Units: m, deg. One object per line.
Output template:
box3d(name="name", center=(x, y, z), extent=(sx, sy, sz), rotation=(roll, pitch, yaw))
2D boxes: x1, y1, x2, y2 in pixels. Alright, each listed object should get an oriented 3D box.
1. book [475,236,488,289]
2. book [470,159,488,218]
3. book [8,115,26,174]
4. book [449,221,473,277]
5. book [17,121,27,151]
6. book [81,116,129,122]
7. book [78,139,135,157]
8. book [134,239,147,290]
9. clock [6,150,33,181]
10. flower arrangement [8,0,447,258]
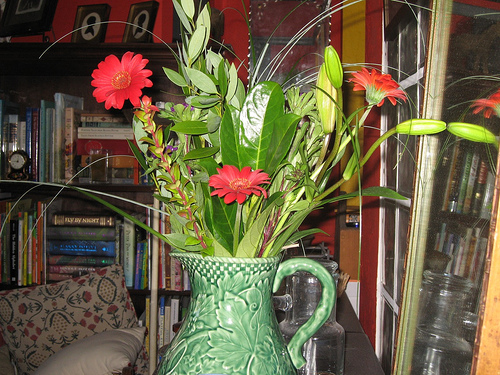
box3d(name="book", center=(0.551, 0.180, 1.195), extent=(0.017, 0.123, 0.032), rotation=(2, -3, -4))
box3d(name="book", center=(0.560, 0.009, 1.222), extent=(0.017, 0.101, 0.089), rotation=(5, 26, 14))
box3d(name="book", center=(-1.155, -0.206, 2.466), extent=(0.064, 0.252, 0.230), rotation=(1, 4, -4))
box3d(name="book", center=(0.540, 0.152, 1.268), extent=(0.021, 0.102, 0.077), rotation=(8, 3, 43))
box3d(name="book", center=(-1.136, -0.253, 2.481), extent=(0.034, 0.141, 0.124), rotation=(1, -3, -8))
box3d(name="book", center=(-0.697, -0.338, 2.419), extent=(0.147, 0.047, 0.172), rotation=(1, 6, 1))
box3d(name="book", center=(-0.674, -0.191, 2.342), extent=(0.135, 0.042, 0.156), rotation=(2, 0, 17))
box3d(name="book", center=(-0.542, 0.388, 2.462), extent=(0.046, 0.161, 0.162), rotation=(3, -38, -5))
box3d(name="clock", center=(-1.119, -0.106, 2.428), extent=(0.139, 0.229, 0.041), rotation=(0, -2, 0))
box3d(name="flower arrangement", center=(-0.011, -0.085, 1.078), extent=(0.622, 0.465, 0.647), rotation=(3, -2, -29))
